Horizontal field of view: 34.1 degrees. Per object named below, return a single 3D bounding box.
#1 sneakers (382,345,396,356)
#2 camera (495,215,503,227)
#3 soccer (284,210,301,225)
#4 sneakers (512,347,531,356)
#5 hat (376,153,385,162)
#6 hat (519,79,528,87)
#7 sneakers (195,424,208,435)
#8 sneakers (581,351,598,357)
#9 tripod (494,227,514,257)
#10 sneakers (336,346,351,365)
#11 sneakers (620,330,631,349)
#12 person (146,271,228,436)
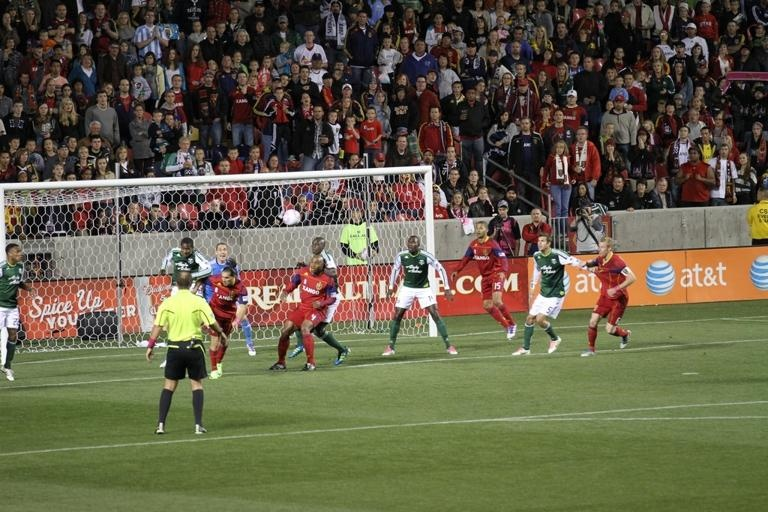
[{"bbox_3d":[0.078,2.164,28.252,0.321,0.197,0.150,-4,-4,37],"label":"sneakers"},{"bbox_3d":[2.985,-0.930,33.073,0.181,0.259,0.102,-8,12,12],"label":"camera"},{"bbox_3d":[-2.383,-0.980,32.536,0.491,0.450,0.237,-1,11,-3],"label":"soccer"},{"bbox_3d":[3.025,2.151,27.844,0.407,0.164,0.158,-2,3,-4],"label":"sneakers"},{"bbox_3d":[-0.092,-2.680,33.952,0.206,0.211,0.420,0,11,4],"label":"hat"},{"bbox_3d":[3.856,-4.861,34.984,0.156,0.214,0.213,-5,-30,13],"label":"hat"},{"bbox_3d":[-3.222,3.163,22.627,0.283,0.174,0.099,-1,4,-24],"label":"sneakers"},{"bbox_3d":[4.462,2.175,27.485,0.347,0.149,0.119,2,1,3],"label":"sneakers"},{"bbox_3d":[3.173,-0.353,33.323,0.480,0.753,0.301,-7,14,21],"label":"tripod"},{"bbox_3d":[-0.915,2.189,27.327,0.224,0.505,0.169,19,11,-34],"label":"sneakers"},{"bbox_3d":[5.409,1.922,28.395,0.133,0.406,0.182,6,-16,34],"label":"sneakers"},{"bbox_3d":[-3.574,1.742,22.773,1.285,2.896,1.153,-2,11,-8],"label":"person"}]
